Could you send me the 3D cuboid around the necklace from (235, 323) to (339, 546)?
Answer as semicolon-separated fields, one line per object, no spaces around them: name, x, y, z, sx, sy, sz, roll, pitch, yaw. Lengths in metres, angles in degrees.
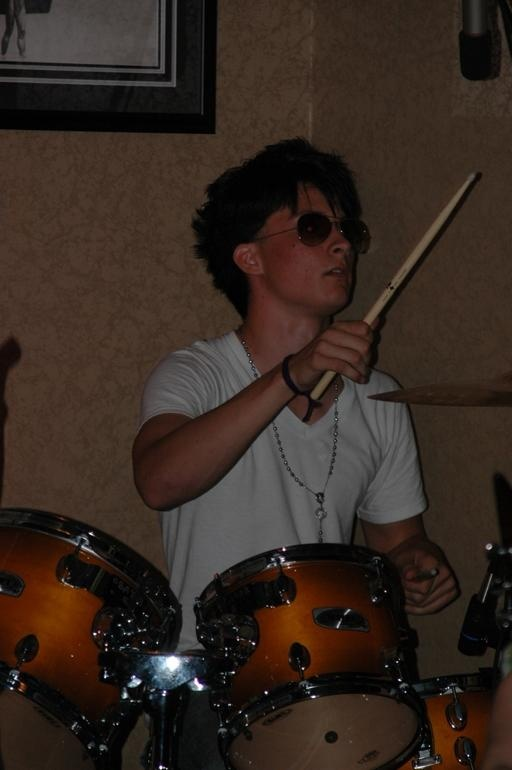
necklace;0.088;0.094;1.353;0.112;0.338;0.038;-1;-27;-12
